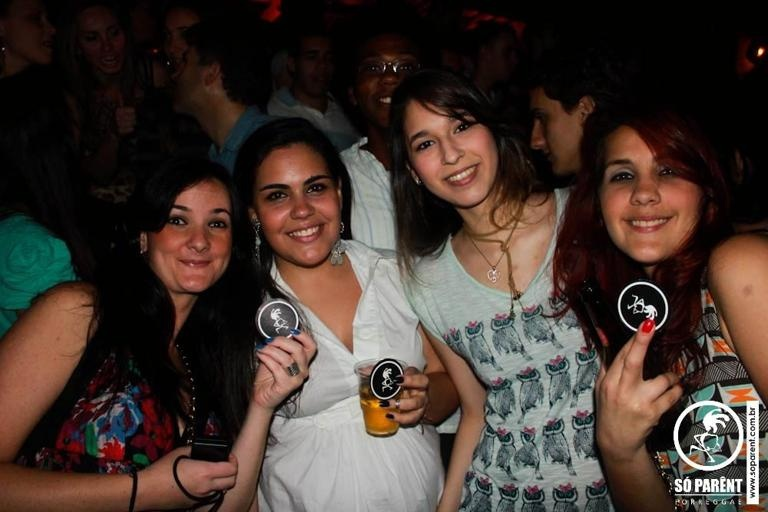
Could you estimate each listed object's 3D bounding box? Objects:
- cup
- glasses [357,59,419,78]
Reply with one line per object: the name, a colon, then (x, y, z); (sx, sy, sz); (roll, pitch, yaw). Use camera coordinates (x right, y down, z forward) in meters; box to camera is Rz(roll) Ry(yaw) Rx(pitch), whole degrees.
cup: (0.001, 0.980, 4.038); (0.327, 0.503, 0.422); (-6, -14, -1)
glasses: (0.043, -1.850, 5.893); (0.562, 0.146, 0.202); (-2, -7, -2)
